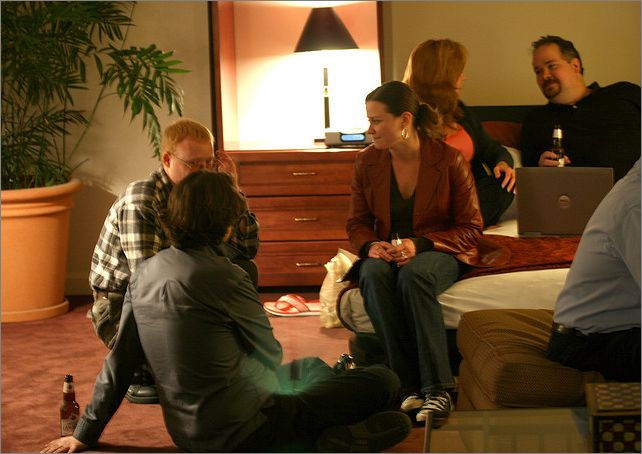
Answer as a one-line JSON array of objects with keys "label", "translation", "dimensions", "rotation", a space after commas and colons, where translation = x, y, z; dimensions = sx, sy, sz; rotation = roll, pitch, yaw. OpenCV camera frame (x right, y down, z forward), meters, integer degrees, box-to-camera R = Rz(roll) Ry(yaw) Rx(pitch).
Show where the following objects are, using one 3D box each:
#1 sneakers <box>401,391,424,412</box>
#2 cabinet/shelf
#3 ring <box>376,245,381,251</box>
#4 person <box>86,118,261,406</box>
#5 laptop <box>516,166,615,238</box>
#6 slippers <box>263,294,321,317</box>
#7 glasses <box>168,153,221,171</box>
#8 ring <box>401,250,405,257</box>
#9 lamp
[{"label": "sneakers", "translation": [0.397, 0.755, 2.417], "dimensions": [0.120, 0.052, 0.048], "rotation": [-3, -13, -44]}, {"label": "cabinet/shelf", "translation": [-0.068, -0.061, 4.211], "dimensions": [1.098, 0.989, 0.390], "rotation": [1, 8, 24]}, {"label": "ring", "translation": [0.275, 0.095, 2.653], "dimensions": [0.018, 0.016, 0.004], "rotation": [-6, -26, 30]}, {"label": "person", "translation": [-0.668, 0.158, 2.764], "dimensions": [0.947, 1.291, 0.821], "rotation": [6, 13, 41]}, {"label": "laptop", "translation": [1.335, -0.237, 3.128], "dimensions": [0.548, 0.414, 0.376], "rotation": [1, 12, 12]}, {"label": "slippers", "translation": [-0.191, 0.527, 3.782], "dimensions": [0.318, 0.070, 0.152], "rotation": [1, 3, -6]}, {"label": "glasses", "translation": [-0.553, -0.310, 2.618], "dimensions": [0.201, 0.084, 0.288], "rotation": [4, 11, 32]}, {"label": "ring", "translation": [0.377, 0.123, 2.596], "dimensions": [0.031, 0.030, 0.009], "rotation": [-2, -1, -4]}, {"label": "lamp", "translation": [0.048, -1.193, 4.365], "dimensions": [0.485, 1.032, 0.277], "rotation": [-1, 10, 5]}]
